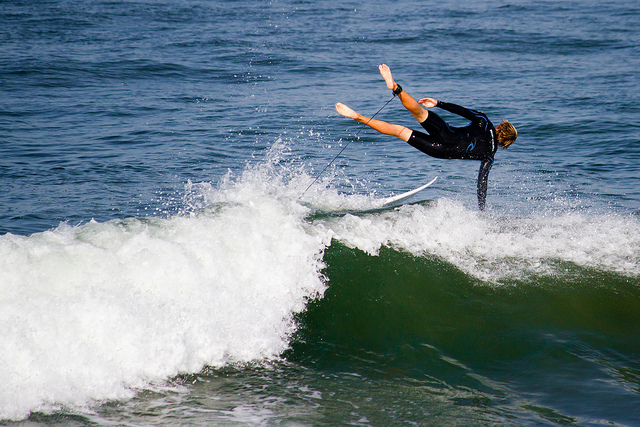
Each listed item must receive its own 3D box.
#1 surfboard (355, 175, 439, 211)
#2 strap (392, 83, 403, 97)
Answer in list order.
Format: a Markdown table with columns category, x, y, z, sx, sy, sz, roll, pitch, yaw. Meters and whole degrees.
| category | x | y | z | sx | sy | sz | roll | pitch | yaw |
| --- | --- | --- | --- | --- | --- | --- | --- | --- | --- |
| surfboard | 1.938 | -0.501 | 27.723 | 3.147 | 0.331 | 0.348 | -13 | 17 | -30 |
| strap | 1.793 | -2.886 | 25.413 | 0.131 | 0.238 | 0.195 | 43 | 46 | -8 |
